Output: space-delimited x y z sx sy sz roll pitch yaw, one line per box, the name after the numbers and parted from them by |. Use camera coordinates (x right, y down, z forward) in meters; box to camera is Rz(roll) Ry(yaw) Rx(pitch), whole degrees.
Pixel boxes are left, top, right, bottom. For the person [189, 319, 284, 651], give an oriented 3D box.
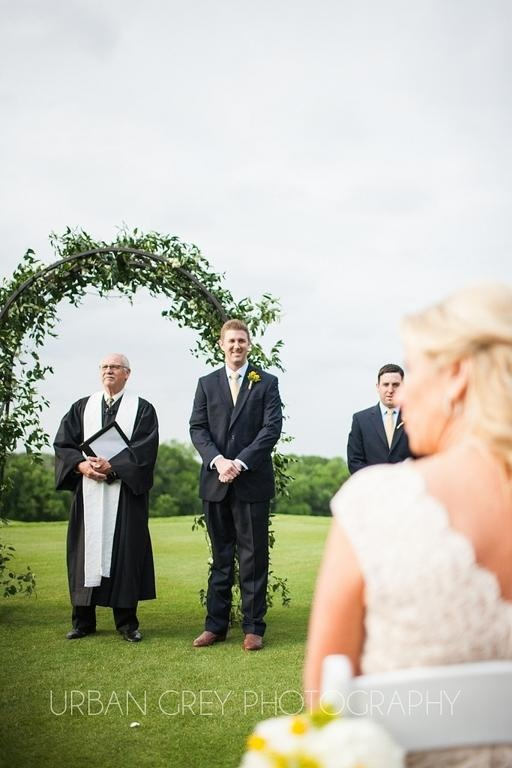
-0.160 0.649 6.543 0.638 2.197 0.519 3 -3 1 | person

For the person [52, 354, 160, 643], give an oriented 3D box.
-1.058 0.648 6.779 0.738 1.751 0.482 3 -3 -10 | person

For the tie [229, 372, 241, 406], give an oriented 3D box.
-0.138 0.026 6.656 0.053 0.239 0.035 -8 -20 8 | tie

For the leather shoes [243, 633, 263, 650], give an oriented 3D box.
-0.023 1.698 6.327 0.068 0.142 0.060 17 -24 -33 | leather shoes

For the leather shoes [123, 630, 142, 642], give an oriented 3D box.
-0.841 1.716 6.572 0.056 0.051 0.141 7 -14 -33 | leather shoes

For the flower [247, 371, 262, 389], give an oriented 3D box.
-0.023 -0.031 6.675 0.118 0.105 0.111 9 -25 0 | flower

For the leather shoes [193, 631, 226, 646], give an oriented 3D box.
-0.315 1.711 6.466 0.243 0.088 0.082 11 -21 -44 | leather shoes

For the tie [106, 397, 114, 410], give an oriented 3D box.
-1.049 0.134 6.912 0.070 0.078 0.021 -1 -9 -3 | tie

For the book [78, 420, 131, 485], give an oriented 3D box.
-1.055 0.489 6.729 0.345 0.377 0.054 41 -5 1 | book
